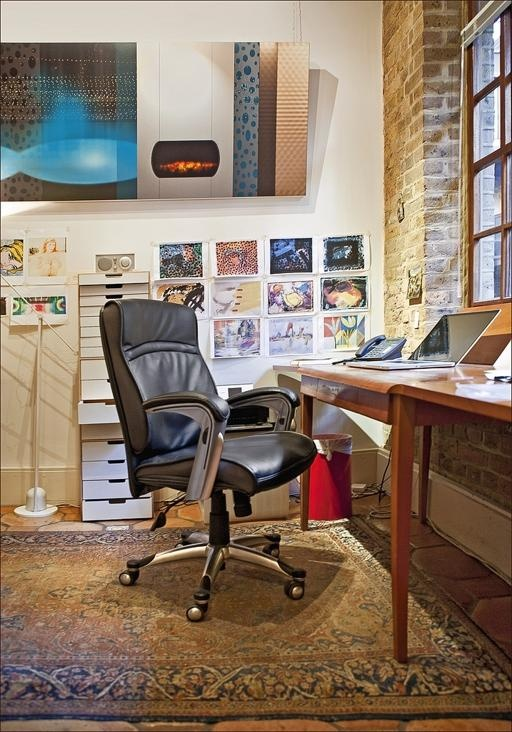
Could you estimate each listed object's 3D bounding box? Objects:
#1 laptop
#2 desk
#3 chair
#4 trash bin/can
[{"bbox_3d":[0.686,-0.102,2.338,0.329,0.146,0.336,-1,3,-14],"label":"laptop"},{"bbox_3d":[0.528,0.519,2.060,0.412,0.530,0.762,-3,7,-15],"label":"desk"},{"bbox_3d":[-0.140,0.269,2.121,0.671,1.025,0.646,2,6,34],"label":"chair"},{"bbox_3d":[0.343,0.520,2.759,0.221,0.372,0.222,-3,5,-14],"label":"trash bin/can"}]
